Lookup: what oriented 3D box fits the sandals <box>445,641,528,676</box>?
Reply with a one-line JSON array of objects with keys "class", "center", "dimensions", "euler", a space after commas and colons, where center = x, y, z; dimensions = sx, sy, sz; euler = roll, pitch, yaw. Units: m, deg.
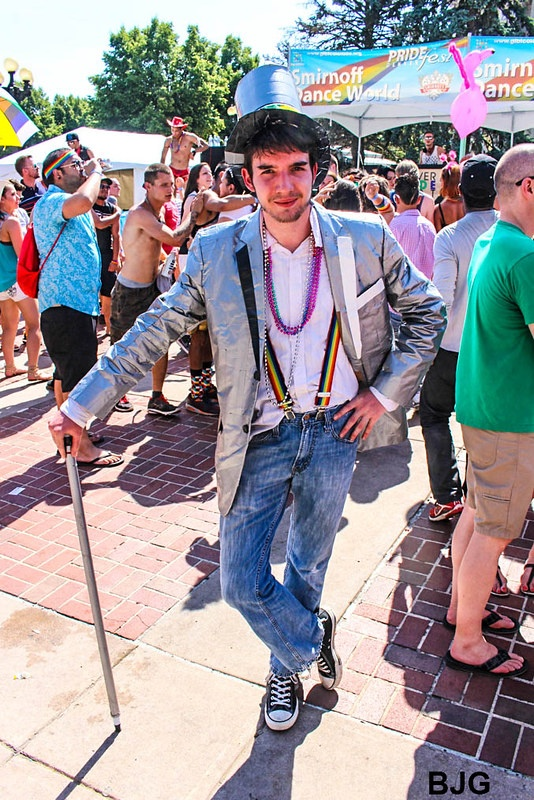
[{"class": "sandals", "center": [0.845, 0.980, 2.321], "dimensions": [0.216, 0.056, 0.120], "euler": [-2, 1, 17]}]

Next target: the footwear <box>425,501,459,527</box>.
[{"class": "footwear", "center": [1.051, 0.652, 3.541], "dimensions": [0.081, 0.110, 0.230], "euler": [11, -23, -33]}]

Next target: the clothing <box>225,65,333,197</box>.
[{"class": "clothing", "center": [0.013, -0.780, 1.788], "dimensions": [0.310, 0.314, 0.321], "euler": [-11, -9, -1]}]

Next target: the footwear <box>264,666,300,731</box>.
[{"class": "footwear", "center": [0.042, 1.016, 2.017], "dimensions": [0.082, 0.073, 0.207], "euler": [-1, -5, 5]}]

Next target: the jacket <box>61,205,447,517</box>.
[{"class": "jacket", "center": [-0.007, -0.119, 1.832], "dimensions": [1.119, 0.913, 0.281], "euler": [-4, 15, -13]}]

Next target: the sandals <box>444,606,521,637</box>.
[{"class": "sandals", "center": [0.928, 0.943, 2.566], "dimensions": [0.283, 0.072, 0.114], "euler": [0, 19, 15]}]

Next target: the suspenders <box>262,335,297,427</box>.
[{"class": "suspenders", "center": [0.028, -0.054, 1.767], "dimensions": [0.079, 0.260, 0.039], "euler": [-17, -1, -4]}]

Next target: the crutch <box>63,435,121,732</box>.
[{"class": "crutch", "center": [-0.799, 0.839, 2.729], "dimensions": [0.052, 1.029, 0.049], "euler": [-6, 12, 1]}]

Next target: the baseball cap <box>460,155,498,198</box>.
[{"class": "baseball cap", "center": [1.074, -1.129, 3.106], "dimensions": [0.185, 0.272, 0.150], "euler": [6, 10, 6]}]

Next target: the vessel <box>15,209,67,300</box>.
[{"class": "vessel", "center": [-1.778, -1.134, 4.647], "dimensions": [0.387, 0.568, 0.178], "euler": [10, 8, -17]}]

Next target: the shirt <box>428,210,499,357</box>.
[{"class": "shirt", "center": [1.048, -0.631, 3.474], "dimensions": [0.264, 0.659, 0.798], "euler": [3, 8, 15]}]

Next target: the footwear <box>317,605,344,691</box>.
[{"class": "footwear", "center": [0.229, 0.897, 2.219], "dimensions": [0.098, 0.283, 0.118], "euler": [-4, 3, 30]}]
